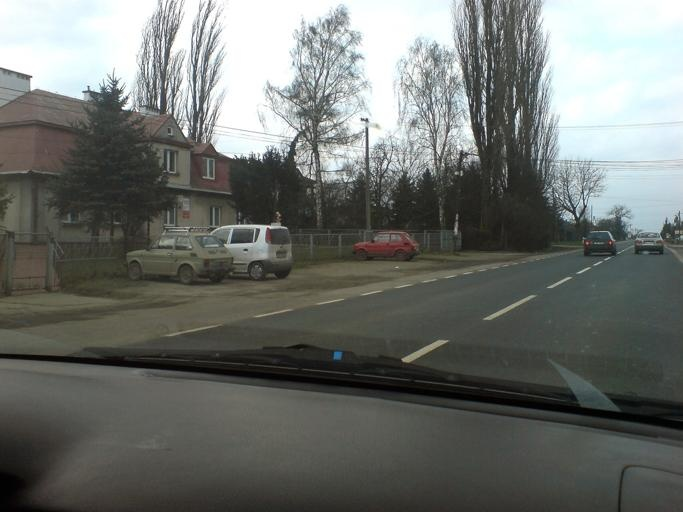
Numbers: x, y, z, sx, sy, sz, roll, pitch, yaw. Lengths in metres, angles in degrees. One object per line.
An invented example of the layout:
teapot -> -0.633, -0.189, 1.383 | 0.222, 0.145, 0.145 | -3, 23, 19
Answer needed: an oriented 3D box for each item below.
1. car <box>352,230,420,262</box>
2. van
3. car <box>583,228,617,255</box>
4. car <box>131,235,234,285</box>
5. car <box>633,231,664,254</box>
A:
car -> 2.273, -0.423, 30.297 | 2.361, 1.341, 1.521 | 4, 4, 16
van -> -3.145, -0.177, 20.086 | 3.025, 1.999, 1.681 | 5, 1, 26
car -> 13.857, -0.628, 34.201 | 1.384, 1.240, 2.028 | -1, 2, 31
car -> -4.435, -0.047, 18.219 | 2.298, 1.285, 1.458 | 6, 7, 25
car -> 16.865, -0.634, 35.029 | 1.322, 1.119, 1.539 | -1, 2, 24
